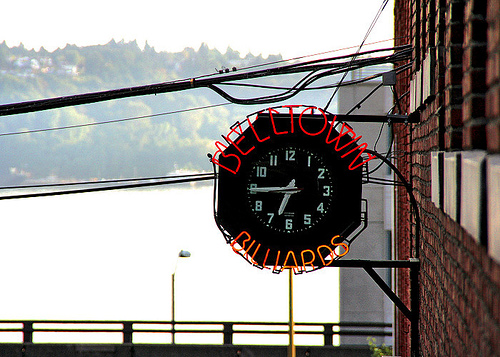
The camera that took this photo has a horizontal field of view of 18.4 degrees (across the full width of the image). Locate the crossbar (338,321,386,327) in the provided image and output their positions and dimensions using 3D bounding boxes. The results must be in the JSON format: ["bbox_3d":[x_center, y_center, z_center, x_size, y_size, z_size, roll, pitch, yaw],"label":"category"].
[{"bbox_3d":[9.139,11.902,127.239,2.922,0.249,0.442,3,-102,-9],"label":"crossbar"}]
